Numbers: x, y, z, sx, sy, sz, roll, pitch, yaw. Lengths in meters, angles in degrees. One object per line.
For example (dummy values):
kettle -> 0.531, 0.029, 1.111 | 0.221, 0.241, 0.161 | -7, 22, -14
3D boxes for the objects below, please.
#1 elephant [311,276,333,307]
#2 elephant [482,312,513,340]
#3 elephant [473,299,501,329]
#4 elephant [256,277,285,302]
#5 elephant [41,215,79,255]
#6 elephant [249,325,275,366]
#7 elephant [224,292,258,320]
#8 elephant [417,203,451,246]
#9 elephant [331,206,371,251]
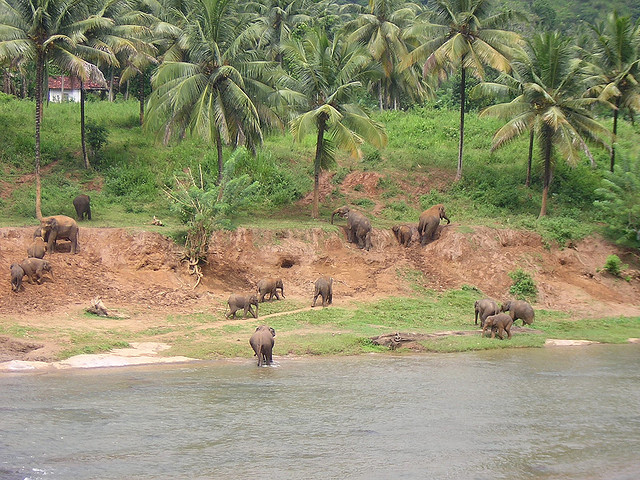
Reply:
elephant -> 0.194, 1.987, 32.082 | 0.561, 1.085, 1.864 | 5, 6, 18
elephant -> 6.442, 3.156, 30.018 | 1.033, 0.868, 0.610 | -1, 4, 11
elephant -> 6.274, 2.778, 31.421 | 0.633, 1.160, 1.865 | 2, -4, -13
elephant -> -2.003, 1.811, 32.159 | 1.295, 0.950, 0.551 | -5, 9, -39
elephant -> -10.287, -0.185, 32.418 | 1.800, 1.493, 0.764 | 2, 0, -44
elephant -> -1.811, 3.395, 26.405 | 0.773, 1.187, 0.610 | -3, 4, -20
elephant -> -2.870, 2.446, 30.308 | 1.179, 0.876, 0.745 | -2, 4, -5
elephant -> 5.051, -0.988, 38.959 | 0.762, 1.534, 2.467 | 24, 50, 31
elephant -> 1.547, -0.562, 38.879 | 1.113, 1.970, 2.915 | -2, 4, -16
